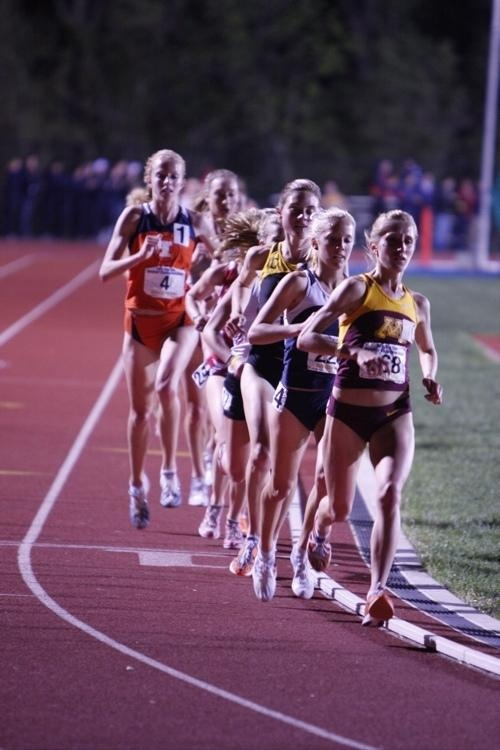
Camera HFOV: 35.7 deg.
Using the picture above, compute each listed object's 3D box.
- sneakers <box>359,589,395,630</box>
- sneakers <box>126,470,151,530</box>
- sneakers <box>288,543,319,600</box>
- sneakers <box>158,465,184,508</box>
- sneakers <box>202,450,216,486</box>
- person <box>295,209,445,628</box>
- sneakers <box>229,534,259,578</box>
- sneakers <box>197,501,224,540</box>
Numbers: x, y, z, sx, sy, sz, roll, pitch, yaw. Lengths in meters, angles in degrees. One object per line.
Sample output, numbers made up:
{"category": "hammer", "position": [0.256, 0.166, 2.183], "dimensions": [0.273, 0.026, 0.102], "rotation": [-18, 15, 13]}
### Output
{"category": "sneakers", "position": [0.518, 0.936, 3.086], "dimensions": [0.101, 0.261, 0.108], "rotation": [7, 46, -1]}
{"category": "sneakers", "position": [-0.614, 0.702, 4.365], "dimensions": [0.121, 0.310, 0.141], "rotation": [-3, -4, -5]}
{"category": "sneakers", "position": [0.241, 0.930, 3.606], "dimensions": [0.091, 0.104, 0.256], "rotation": [-2, 15, -4]}
{"category": "sneakers", "position": [-0.469, 0.659, 4.604], "dimensions": [0.101, 0.118, 0.276], "rotation": [0, 34, -6]}
{"category": "sneakers", "position": [-0.298, 0.656, 5.631], "dimensions": [0.101, 0.286, 0.130], "rotation": [-2, -7, 0]}
{"category": "person", "position": [0.481, 0.194, 3.272], "dimensions": [0.587, 1.769, 0.821], "rotation": [7, 11, 13]}
{"category": "sneakers", "position": [-0.032, 0.860, 3.814], "dimensions": [0.122, 0.236, 0.103], "rotation": [5, -32, 15]}
{"category": "sneakers", "position": [-0.193, 0.844, 4.472], "dimensions": [0.096, 0.174, 0.260], "rotation": [16, 8, -4]}
